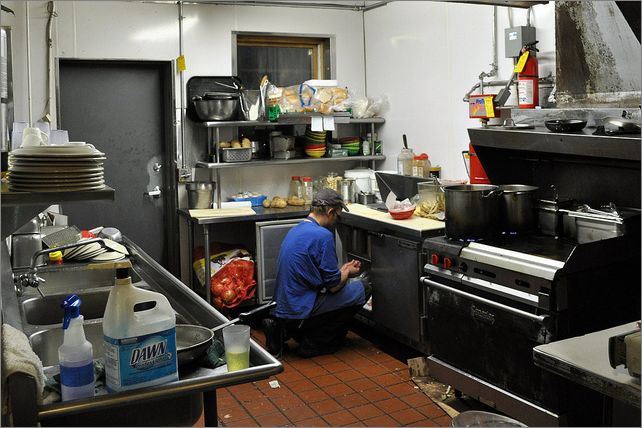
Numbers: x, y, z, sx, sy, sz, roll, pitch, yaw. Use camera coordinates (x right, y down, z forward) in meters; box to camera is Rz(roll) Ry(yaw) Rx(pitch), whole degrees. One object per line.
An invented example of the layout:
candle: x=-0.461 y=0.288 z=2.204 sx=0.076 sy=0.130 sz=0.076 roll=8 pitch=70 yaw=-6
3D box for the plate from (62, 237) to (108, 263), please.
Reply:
plate: x=-1.478 y=0.239 z=2.994 sx=0.214 sy=0.068 sz=0.210 roll=-3 pitch=6 yaw=-20

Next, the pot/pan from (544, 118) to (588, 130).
pot/pan: x=1.544 y=-0.552 z=3.012 sx=0.216 sy=0.078 sz=0.190 roll=9 pitch=16 yaw=39

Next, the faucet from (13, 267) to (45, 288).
faucet: x=-1.622 y=0.360 z=2.682 sx=0.133 sy=0.076 sz=0.191 roll=9 pitch=-1 yaw=39

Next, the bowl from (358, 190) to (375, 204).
bowl: x=0.484 y=-0.161 z=5.070 sx=0.148 sy=0.075 sz=0.116 roll=0 pitch=2 yaw=-25

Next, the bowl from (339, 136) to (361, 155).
bowl: x=0.352 y=-0.805 z=5.601 sx=0.214 sy=0.151 sz=0.217 roll=-2 pitch=15 yaw=0

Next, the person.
person: x=-0.046 y=0.510 z=4.030 sx=0.902 sy=1.391 sz=0.362 roll=-4 pitch=12 yaw=-8

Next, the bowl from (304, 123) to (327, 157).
bowl: x=-0.060 y=-0.821 z=5.455 sx=0.336 sy=0.411 sz=0.320 roll=-1 pitch=-4 yaw=0

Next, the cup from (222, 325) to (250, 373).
cup: x=-0.310 y=0.508 z=1.801 sx=0.098 sy=0.145 sz=0.285 roll=-4 pitch=12 yaw=-10

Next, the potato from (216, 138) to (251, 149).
potato: x=-0.915 y=-0.762 z=5.169 sx=0.340 sy=0.097 sz=0.323 roll=-3 pitch=12 yaw=-7

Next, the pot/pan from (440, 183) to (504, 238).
pot/pan: x=1.030 y=-0.041 z=3.340 sx=0.368 sy=0.270 sz=0.364 roll=-3 pitch=8 yaw=-21

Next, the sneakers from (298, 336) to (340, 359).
sneakers: x=-0.019 y=1.142 z=4.160 sx=0.374 sy=0.168 sz=0.145 roll=-7 pitch=9 yaw=-28

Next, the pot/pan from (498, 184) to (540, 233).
pot/pan: x=1.359 y=-0.044 z=3.406 sx=0.317 sy=0.294 sz=0.295 roll=-4 pitch=5 yaw=-28

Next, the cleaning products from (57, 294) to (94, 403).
cleaning products: x=-0.805 y=0.437 z=1.558 sx=0.110 sy=0.333 sz=0.178 roll=-8 pitch=13 yaw=-28

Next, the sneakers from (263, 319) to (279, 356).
sneakers: x=-0.406 y=0.995 z=3.997 sx=0.128 sy=0.316 sz=0.108 roll=-7 pitch=4 yaw=-40

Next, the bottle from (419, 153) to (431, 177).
bottle: x=1.011 y=-0.466 z=4.654 sx=0.104 sy=0.214 sz=0.186 roll=0 pitch=12 yaw=11

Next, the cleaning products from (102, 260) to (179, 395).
cleaning products: x=-0.600 y=0.368 z=1.581 sx=0.236 sy=0.407 sz=0.146 roll=-8 pitch=13 yaw=-26

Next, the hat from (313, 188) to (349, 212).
hat: x=0.095 y=-0.125 z=4.054 sx=0.232 sy=0.118 sz=0.150 roll=4 pitch=3 yaw=-27

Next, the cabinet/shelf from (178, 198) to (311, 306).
cabinet/shelf: x=-0.855 y=0.216 z=5.218 sx=1.337 sy=1.217 sz=0.998 roll=-2 pitch=9 yaw=-15

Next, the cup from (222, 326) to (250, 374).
cup: x=-0.310 y=0.508 z=1.801 sx=0.098 sy=0.145 sz=0.285 roll=-4 pitch=12 yaw=-10

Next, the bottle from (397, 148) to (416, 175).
bottle: x=0.858 y=-0.521 z=4.813 sx=0.153 sy=0.248 sz=0.353 roll=0 pitch=12 yaw=11

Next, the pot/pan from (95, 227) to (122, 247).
pot/pan: x=-1.504 y=0.155 z=3.435 sx=0.153 sy=0.102 sz=0.156 roll=8 pitch=5 yaw=41

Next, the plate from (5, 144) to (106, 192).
plate: x=-0.898 y=-0.152 z=1.613 sx=0.214 sy=0.090 sz=0.211 roll=-1 pitch=4 yaw=-8

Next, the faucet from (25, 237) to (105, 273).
faucet: x=-1.506 y=0.231 z=2.871 sx=0.385 sy=0.192 sz=0.508 roll=-7 pitch=14 yaw=-25

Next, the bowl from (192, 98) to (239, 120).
bowl: x=-1.078 y=-1.062 z=4.926 sx=0.286 sy=0.126 sz=0.285 roll=0 pitch=6 yaw=0

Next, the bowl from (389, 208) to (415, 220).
bowl: x=0.692 y=0.007 z=4.056 sx=0.122 sy=0.046 sz=0.121 roll=-2 pitch=6 yaw=0

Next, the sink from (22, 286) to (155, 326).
sink: x=-1.179 y=0.524 z=2.769 sx=0.383 sy=0.098 sz=0.239 roll=12 pitch=-1 yaw=-22

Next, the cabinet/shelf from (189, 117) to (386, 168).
cabinet/shelf: x=-0.289 y=-0.760 z=5.355 sx=2.163 sy=0.630 sz=0.648 roll=-5 pitch=12 yaw=-15

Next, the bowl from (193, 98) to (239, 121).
bowl: x=-1.055 y=-1.062 z=4.924 sx=0.288 sy=0.125 sz=0.282 roll=0 pitch=6 yaw=0
